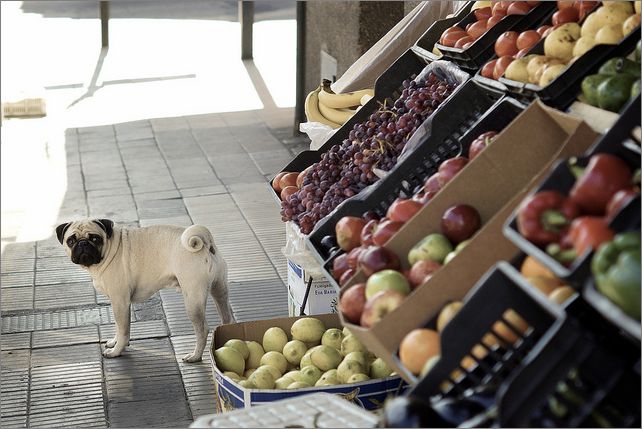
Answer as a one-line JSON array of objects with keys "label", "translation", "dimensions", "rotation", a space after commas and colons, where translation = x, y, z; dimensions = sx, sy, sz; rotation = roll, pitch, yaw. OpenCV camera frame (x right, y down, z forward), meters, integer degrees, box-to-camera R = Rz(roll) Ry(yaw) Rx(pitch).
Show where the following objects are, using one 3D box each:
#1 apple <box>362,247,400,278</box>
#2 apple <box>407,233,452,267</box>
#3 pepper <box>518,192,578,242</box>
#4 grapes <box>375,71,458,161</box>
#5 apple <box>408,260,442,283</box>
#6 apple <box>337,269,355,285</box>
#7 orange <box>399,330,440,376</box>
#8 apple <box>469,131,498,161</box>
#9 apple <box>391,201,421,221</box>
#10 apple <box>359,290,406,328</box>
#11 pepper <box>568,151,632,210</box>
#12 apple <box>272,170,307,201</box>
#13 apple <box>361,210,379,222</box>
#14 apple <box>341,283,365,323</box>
[{"label": "apple", "translation": [0.208, 0.171, 1.908], "dimensions": [0.124, 0.113, 0.101], "rotation": [-3, -20, -10]}, {"label": "apple", "translation": [0.393, 0.123, 1.936], "dimensions": [0.110, 0.117, 0.116], "rotation": [49, 8, 11]}, {"label": "pepper", "translation": [0.562, 0.002, 1.388], "dimensions": [0.123, 0.123, 0.161], "rotation": [-15, 3, -1]}, {"label": "grapes", "translation": [0.443, -0.522, 2.832], "dimensions": [0.183, 0.506, 0.454], "rotation": [31, 20, -13]}, {"label": "apple", "translation": [0.350, 0.195, 1.819], "dimensions": [0.102, 0.072, 0.098], "rotation": [10, 27, 14]}, {"label": "apple", "translation": [0.096, 0.234, 2.008], "dimensions": [0.044, 0.039, 0.063], "rotation": [0, 1, 1]}, {"label": "orange", "translation": [0.289, 0.397, 1.570], "dimensions": [0.130, 0.133, 0.061], "rotation": [-14, -16, 31]}, {"label": "apple", "translation": [0.607, -0.255, 1.997], "dimensions": [0.084, 0.103, 0.084], "rotation": [-30, 46, -33]}, {"label": "apple", "translation": [0.317, -0.014, 2.043], "dimensions": [0.096, 0.057, 0.073], "rotation": [-21, 0, 38]}, {"label": "apple", "translation": [0.194, 0.284, 1.719], "dimensions": [0.116, 0.117, 0.131], "rotation": [8, 30, 28]}, {"label": "pepper", "translation": [0.710, -0.075, 1.356], "dimensions": [0.134, 0.135, 0.094], "rotation": [12, 28, 19]}, {"label": "apple", "translation": [-0.185, -0.192, 3.164], "dimensions": [0.192, 0.205, 0.304], "rotation": [-3, 27, -11]}, {"label": "apple", "translation": [0.208, -0.003, 2.288], "dimensions": [0.047, 0.048, 0.045], "rotation": [-15, 36, -32]}, {"label": "apple", "translation": [0.109, 0.302, 1.793], "dimensions": [0.103, 0.126, 0.105], "rotation": [5, 16, 10]}]
